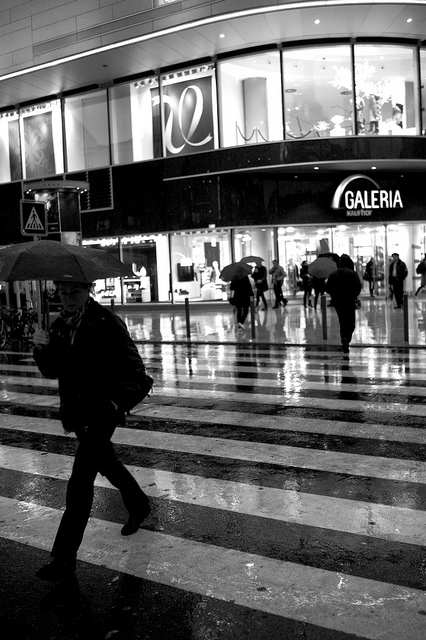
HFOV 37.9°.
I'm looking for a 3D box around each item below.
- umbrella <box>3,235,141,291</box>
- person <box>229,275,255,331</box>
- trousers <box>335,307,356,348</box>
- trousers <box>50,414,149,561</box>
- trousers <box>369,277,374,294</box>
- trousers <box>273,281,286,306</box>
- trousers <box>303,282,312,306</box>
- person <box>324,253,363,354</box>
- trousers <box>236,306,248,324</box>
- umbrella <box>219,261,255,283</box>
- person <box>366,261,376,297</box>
[{"bbox_3d":[-1.014,-0.376,4.066,0.982,0.363,0.639,0,4,38],"label":"umbrella"},{"bbox_3d":[0.831,-0.474,17.579,0.584,1.557,1.711,-2,3,4],"label":"person"},{"bbox_3d":[2.660,0.072,12.367,0.320,0.292,1.091,11,35,1],"label":"trousers"},{"bbox_3d":[-0.668,0.921,3.634,0.218,0.713,0.821,-1,3,16],"label":"trousers"},{"bbox_3d":[7.241,-1.522,28.283,0.151,0.794,0.192,-2,1,-29],"label":"trousers"},{"bbox_3d":[2.685,-1.034,24.705,0.440,0.993,1.245,-2,3,6],"label":"trousers"},{"bbox_3d":[3.838,-1.031,25.122,0.315,0.943,0.606,-2,3,5],"label":"trousers"},{"bbox_3d":[2.686,-0.355,12.682,0.690,1.996,1.032,-1,3,14],"label":"person"},{"bbox_3d":[0.821,-0.136,17.675,0.283,0.508,0.487,-2,3,2],"label":"trousers"},{"bbox_3d":[0.605,-1.216,16.917,0.599,0.250,0.678,1,46,23],"label":"umbrella"},{"bbox_3d":[7.206,-1.854,28.235,0.391,1.532,0.138,-2,3,1],"label":"person"}]
